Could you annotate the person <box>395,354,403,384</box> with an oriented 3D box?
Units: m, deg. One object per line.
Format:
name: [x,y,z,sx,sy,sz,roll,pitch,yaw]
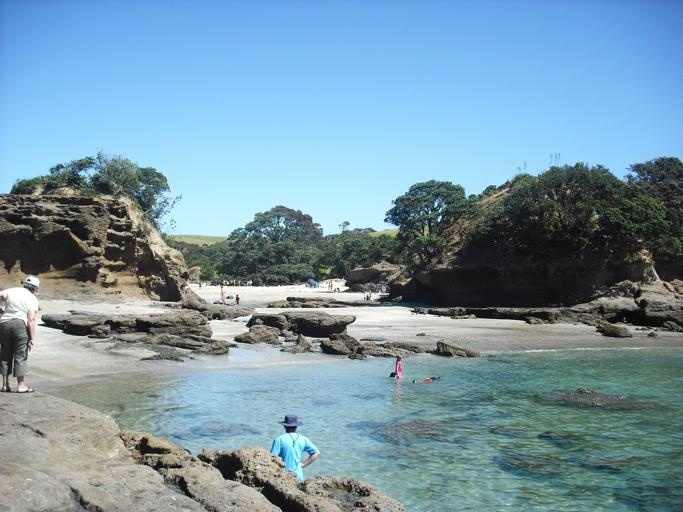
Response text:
person: [2.317,4.464,20.649,0.326,0.998,1.057,4,-5,7]

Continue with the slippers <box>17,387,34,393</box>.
slippers: [-7.395,3.115,11.998,0.299,0.060,0.124,0,0,-17]

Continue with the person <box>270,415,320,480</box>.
person: [-0.956,3.915,10.599,0.930,1.195,0.676,6,-5,-19]

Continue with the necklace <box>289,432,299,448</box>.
necklace: [-0.983,3.769,10.629,0.206,0.259,0.117,7,-6,-35]
